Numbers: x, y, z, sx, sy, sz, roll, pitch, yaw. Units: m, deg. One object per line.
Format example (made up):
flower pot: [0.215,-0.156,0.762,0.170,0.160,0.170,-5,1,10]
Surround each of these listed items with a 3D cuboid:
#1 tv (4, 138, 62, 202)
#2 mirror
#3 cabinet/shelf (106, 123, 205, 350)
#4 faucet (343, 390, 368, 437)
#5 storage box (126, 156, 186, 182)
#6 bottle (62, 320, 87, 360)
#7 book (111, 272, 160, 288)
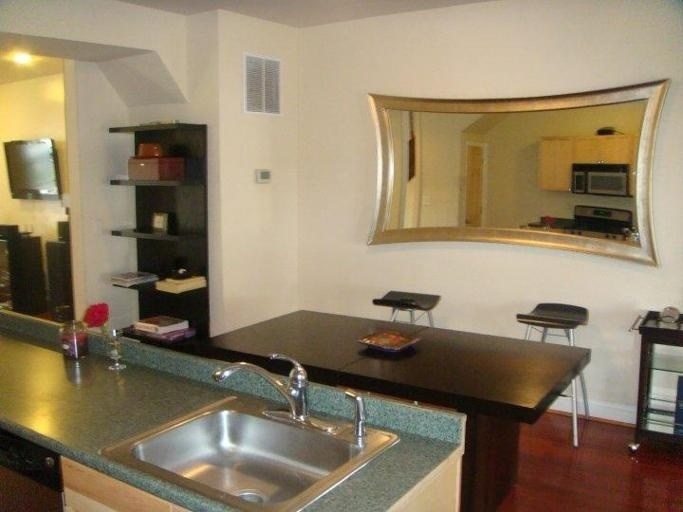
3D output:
tv: [-2.572,-0.718,4.413,0.098,0.577,0.602,10,13,41]
mirror: [1.334,-0.811,4.658,2.428,1.157,0.044,-7,17,-23]
cabinet/shelf: [-1.557,0.014,4.695,0.741,1.131,0.323,0,13,21]
faucet: [0.059,0.593,2.087,0.078,0.189,0.155,2,10,4]
storage box: [-1.541,-0.724,4.461,0.378,0.129,0.276,4,7,33]
bottle: [-1.446,0.455,2.912,0.111,0.192,0.102,1,10,0]
book: [-1.897,0.201,4.777,0.221,0.046,0.237,10,12,40]
